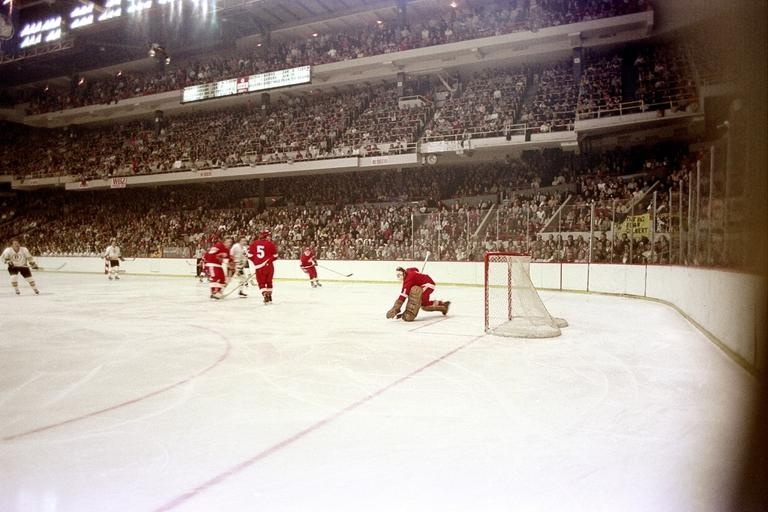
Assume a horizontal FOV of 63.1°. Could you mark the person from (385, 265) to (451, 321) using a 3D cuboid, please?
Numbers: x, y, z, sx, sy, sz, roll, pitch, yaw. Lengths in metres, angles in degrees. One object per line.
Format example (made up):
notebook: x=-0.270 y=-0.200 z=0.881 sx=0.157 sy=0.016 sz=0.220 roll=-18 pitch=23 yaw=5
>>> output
person: x=0.901 y=0.995 z=16.757 sx=1.078 sy=1.400 sz=2.373 roll=11 pitch=13 yaw=44

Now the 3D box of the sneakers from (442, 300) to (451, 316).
sneakers: x=1.707 y=1.385 z=17.052 sx=0.198 sy=0.450 sz=0.173 roll=7 pitch=0 yaw=0

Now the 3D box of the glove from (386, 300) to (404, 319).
glove: x=0.292 y=1.361 z=16.302 sx=0.389 sy=0.669 sz=0.697 roll=-1 pitch=14 yaw=0

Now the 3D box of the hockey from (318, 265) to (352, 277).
hockey: x=-2.352 y=0.749 z=30.461 sx=1.933 sy=0.506 sz=0.369 roll=8 pitch=17 yaw=32

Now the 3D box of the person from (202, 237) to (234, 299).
person: x=-5.690 y=0.271 z=21.132 sx=0.745 sy=2.206 sz=0.737 roll=-2 pitch=-5 yaw=17
